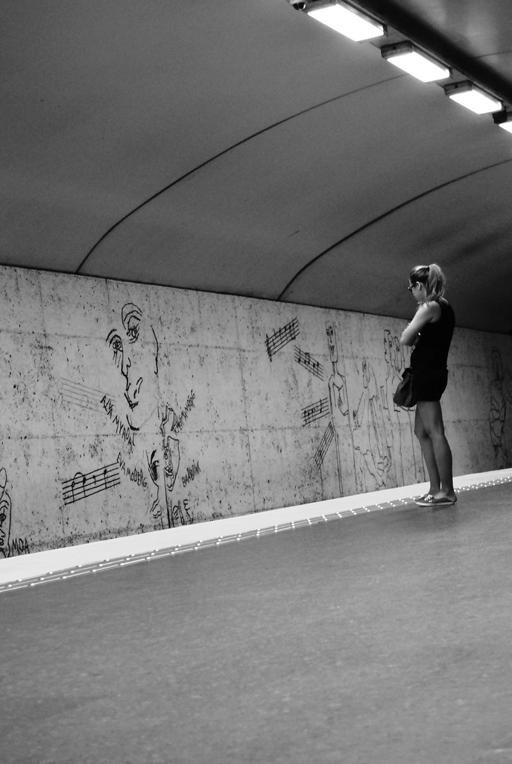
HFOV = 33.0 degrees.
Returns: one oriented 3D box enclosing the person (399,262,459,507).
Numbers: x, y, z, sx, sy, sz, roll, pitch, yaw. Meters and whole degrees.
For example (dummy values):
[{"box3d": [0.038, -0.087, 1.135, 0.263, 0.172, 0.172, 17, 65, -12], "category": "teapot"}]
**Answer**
[{"box3d": [1.097, -0.003, 5.439, 0.393, 1.543, 0.488, -5, -6, -2], "category": "person"}]
